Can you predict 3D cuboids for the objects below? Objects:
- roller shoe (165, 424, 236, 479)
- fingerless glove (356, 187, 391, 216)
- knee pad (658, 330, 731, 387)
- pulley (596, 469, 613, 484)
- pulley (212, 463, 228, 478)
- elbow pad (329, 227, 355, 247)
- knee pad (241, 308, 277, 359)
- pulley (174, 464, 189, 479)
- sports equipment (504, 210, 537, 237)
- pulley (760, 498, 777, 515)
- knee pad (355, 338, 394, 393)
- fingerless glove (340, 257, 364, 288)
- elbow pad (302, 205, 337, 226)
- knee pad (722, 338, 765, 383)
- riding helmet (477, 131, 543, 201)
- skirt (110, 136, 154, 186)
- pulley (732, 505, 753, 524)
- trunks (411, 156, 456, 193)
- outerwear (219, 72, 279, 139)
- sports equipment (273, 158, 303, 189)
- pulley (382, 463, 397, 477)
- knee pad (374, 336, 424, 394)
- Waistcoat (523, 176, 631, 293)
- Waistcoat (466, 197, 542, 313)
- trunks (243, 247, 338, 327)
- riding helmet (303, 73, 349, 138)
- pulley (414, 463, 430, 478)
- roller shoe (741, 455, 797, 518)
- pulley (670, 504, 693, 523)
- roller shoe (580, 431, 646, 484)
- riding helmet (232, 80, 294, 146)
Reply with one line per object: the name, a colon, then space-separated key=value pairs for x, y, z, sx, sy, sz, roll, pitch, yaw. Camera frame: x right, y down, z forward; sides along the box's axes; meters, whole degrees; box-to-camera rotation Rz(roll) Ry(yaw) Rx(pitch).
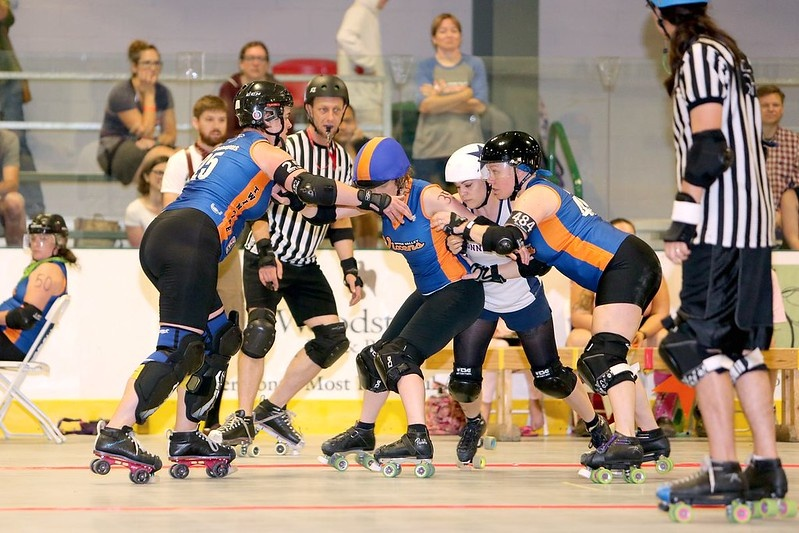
roller shoe: x=-1.391 y=1.313 z=6.752 sx=0.508 sy=0.360 sz=0.257 roll=1 pitch=-2 yaw=-12
fingerless glove: x=-0.176 y=-0.458 z=6.688 sx=0.218 sy=0.141 sz=0.094 roll=16 pitch=-2 yaw=1
knee pad: x=1.763 y=0.536 z=5.844 sx=0.404 sy=0.184 sz=0.289 roll=19 pitch=1 yaw=-5
pulley: x=1.406 y=1.419 z=6.562 sx=0.114 sy=0.101 sz=0.054 roll=-1 pitch=2 yaw=-1
pulley: x=-1.275 y=1.428 z=6.793 sx=0.086 sy=0.089 sz=0.035 roll=20 pitch=-5 yaw=-22
elbow pad: x=-0.493 y=-0.253 z=8.171 sx=0.159 sy=0.167 sz=0.073 roll=-2 pitch=-5 yaw=6
knee pad: x=-1.139 y=0.540 z=7.749 sx=0.274 sy=0.404 sz=0.140 roll=9 pitch=2 yaw=-7
pulley: x=-1.534 y=1.420 z=6.722 sx=0.100 sy=0.103 sz=0.029 roll=-2 pitch=3 yaw=-23
sports equipment: x=0.823 y=-0.304 z=6.432 sx=0.167 sy=0.112 sz=0.174 roll=32 pitch=-15 yaw=48
pulley: x=2.178 y=1.406 z=5.642 sx=0.112 sy=0.094 sz=0.025 roll=-1 pitch=2 yaw=-10
knee pad: x=-0.104 y=0.717 z=7.054 sx=0.346 sy=0.194 sz=0.259 roll=-12 pitch=-28 yaw=-35
fingerless glove: x=-0.372 y=0.033 z=7.949 sx=0.085 sy=0.264 sz=0.157 roll=-2 pitch=-20 yaw=-46
elbow pad: x=-0.579 y=-0.382 z=7.192 sx=0.181 sy=0.093 sz=0.140 roll=4 pitch=-1 yaw=-9
knee pad: x=2.113 y=0.579 z=5.863 sx=0.202 sy=0.163 sz=0.087 roll=-13 pitch=-9 yaw=8
riding helmet: x=0.817 y=-0.728 z=6.881 sx=0.443 sy=0.500 sz=0.388 roll=2 pitch=1 yaw=-3
skirt: x=-2.638 y=-1.022 z=9.385 sx=0.291 sy=0.398 sz=0.203 roll=32 pitch=-2 yaw=-36
pulley: x=1.994 y=1.427 z=5.586 sx=0.123 sy=0.107 sz=0.049 roll=0 pitch=2 yaw=14
trunks: x=0.346 y=-0.844 z=9.467 sx=0.425 sy=0.602 sz=0.328 roll=-1 pitch=1 yaw=9
outerwear: x=-1.589 y=-1.661 z=9.597 sx=0.557 sy=0.732 sz=0.430 roll=6 pitch=4 yaw=-45
sports equipment: x=-0.771 y=-0.641 z=6.612 sx=0.122 sy=0.182 sz=0.177 roll=-6 pitch=3 yaw=-15
pulley: x=-0.065 y=1.438 z=6.831 sx=0.079 sy=0.082 sz=0.034 roll=-14 pitch=4 yaw=3
knee pad: x=-0.012 y=0.689 z=6.822 sx=0.380 sy=0.297 sz=0.180 roll=32 pitch=34 yaw=15
Waistcoat: x=1.327 y=-0.231 z=7.146 sx=0.900 sy=0.480 sz=0.584 roll=29 pitch=45 yaw=1
Waistcoat: x=0.725 y=-0.116 z=6.745 sx=0.630 sy=0.889 sz=0.520 roll=-5 pitch=13 yaw=6
trunks: x=-0.934 y=0.179 z=7.958 sx=0.608 sy=0.578 sz=0.320 roll=8 pitch=-36 yaw=-24
riding helmet: x=-0.588 y=-1.292 z=7.832 sx=0.381 sy=0.570 sz=0.460 roll=1 pitch=-5 yaw=-9
pulley: x=0.174 y=1.437 z=6.821 sx=0.107 sy=0.101 sz=0.043 roll=-1 pitch=2 yaw=-4
roller shoe: x=2.171 y=1.310 z=5.751 sx=0.186 sy=0.283 sz=0.502 roll=-2 pitch=4 yaw=-3
pulley: x=1.646 y=1.427 z=5.587 sx=0.102 sy=0.105 sz=0.109 roll=7 pitch=-15 yaw=-4
roller shoe: x=1.468 y=1.305 z=6.563 sx=0.425 sy=0.331 sz=0.279 roll=1 pitch=-4 yaw=3
riding helmet: x=-0.951 y=-1.096 z=6.844 sx=0.402 sy=0.476 sz=0.374 roll=-7 pitch=16 yaw=-15
